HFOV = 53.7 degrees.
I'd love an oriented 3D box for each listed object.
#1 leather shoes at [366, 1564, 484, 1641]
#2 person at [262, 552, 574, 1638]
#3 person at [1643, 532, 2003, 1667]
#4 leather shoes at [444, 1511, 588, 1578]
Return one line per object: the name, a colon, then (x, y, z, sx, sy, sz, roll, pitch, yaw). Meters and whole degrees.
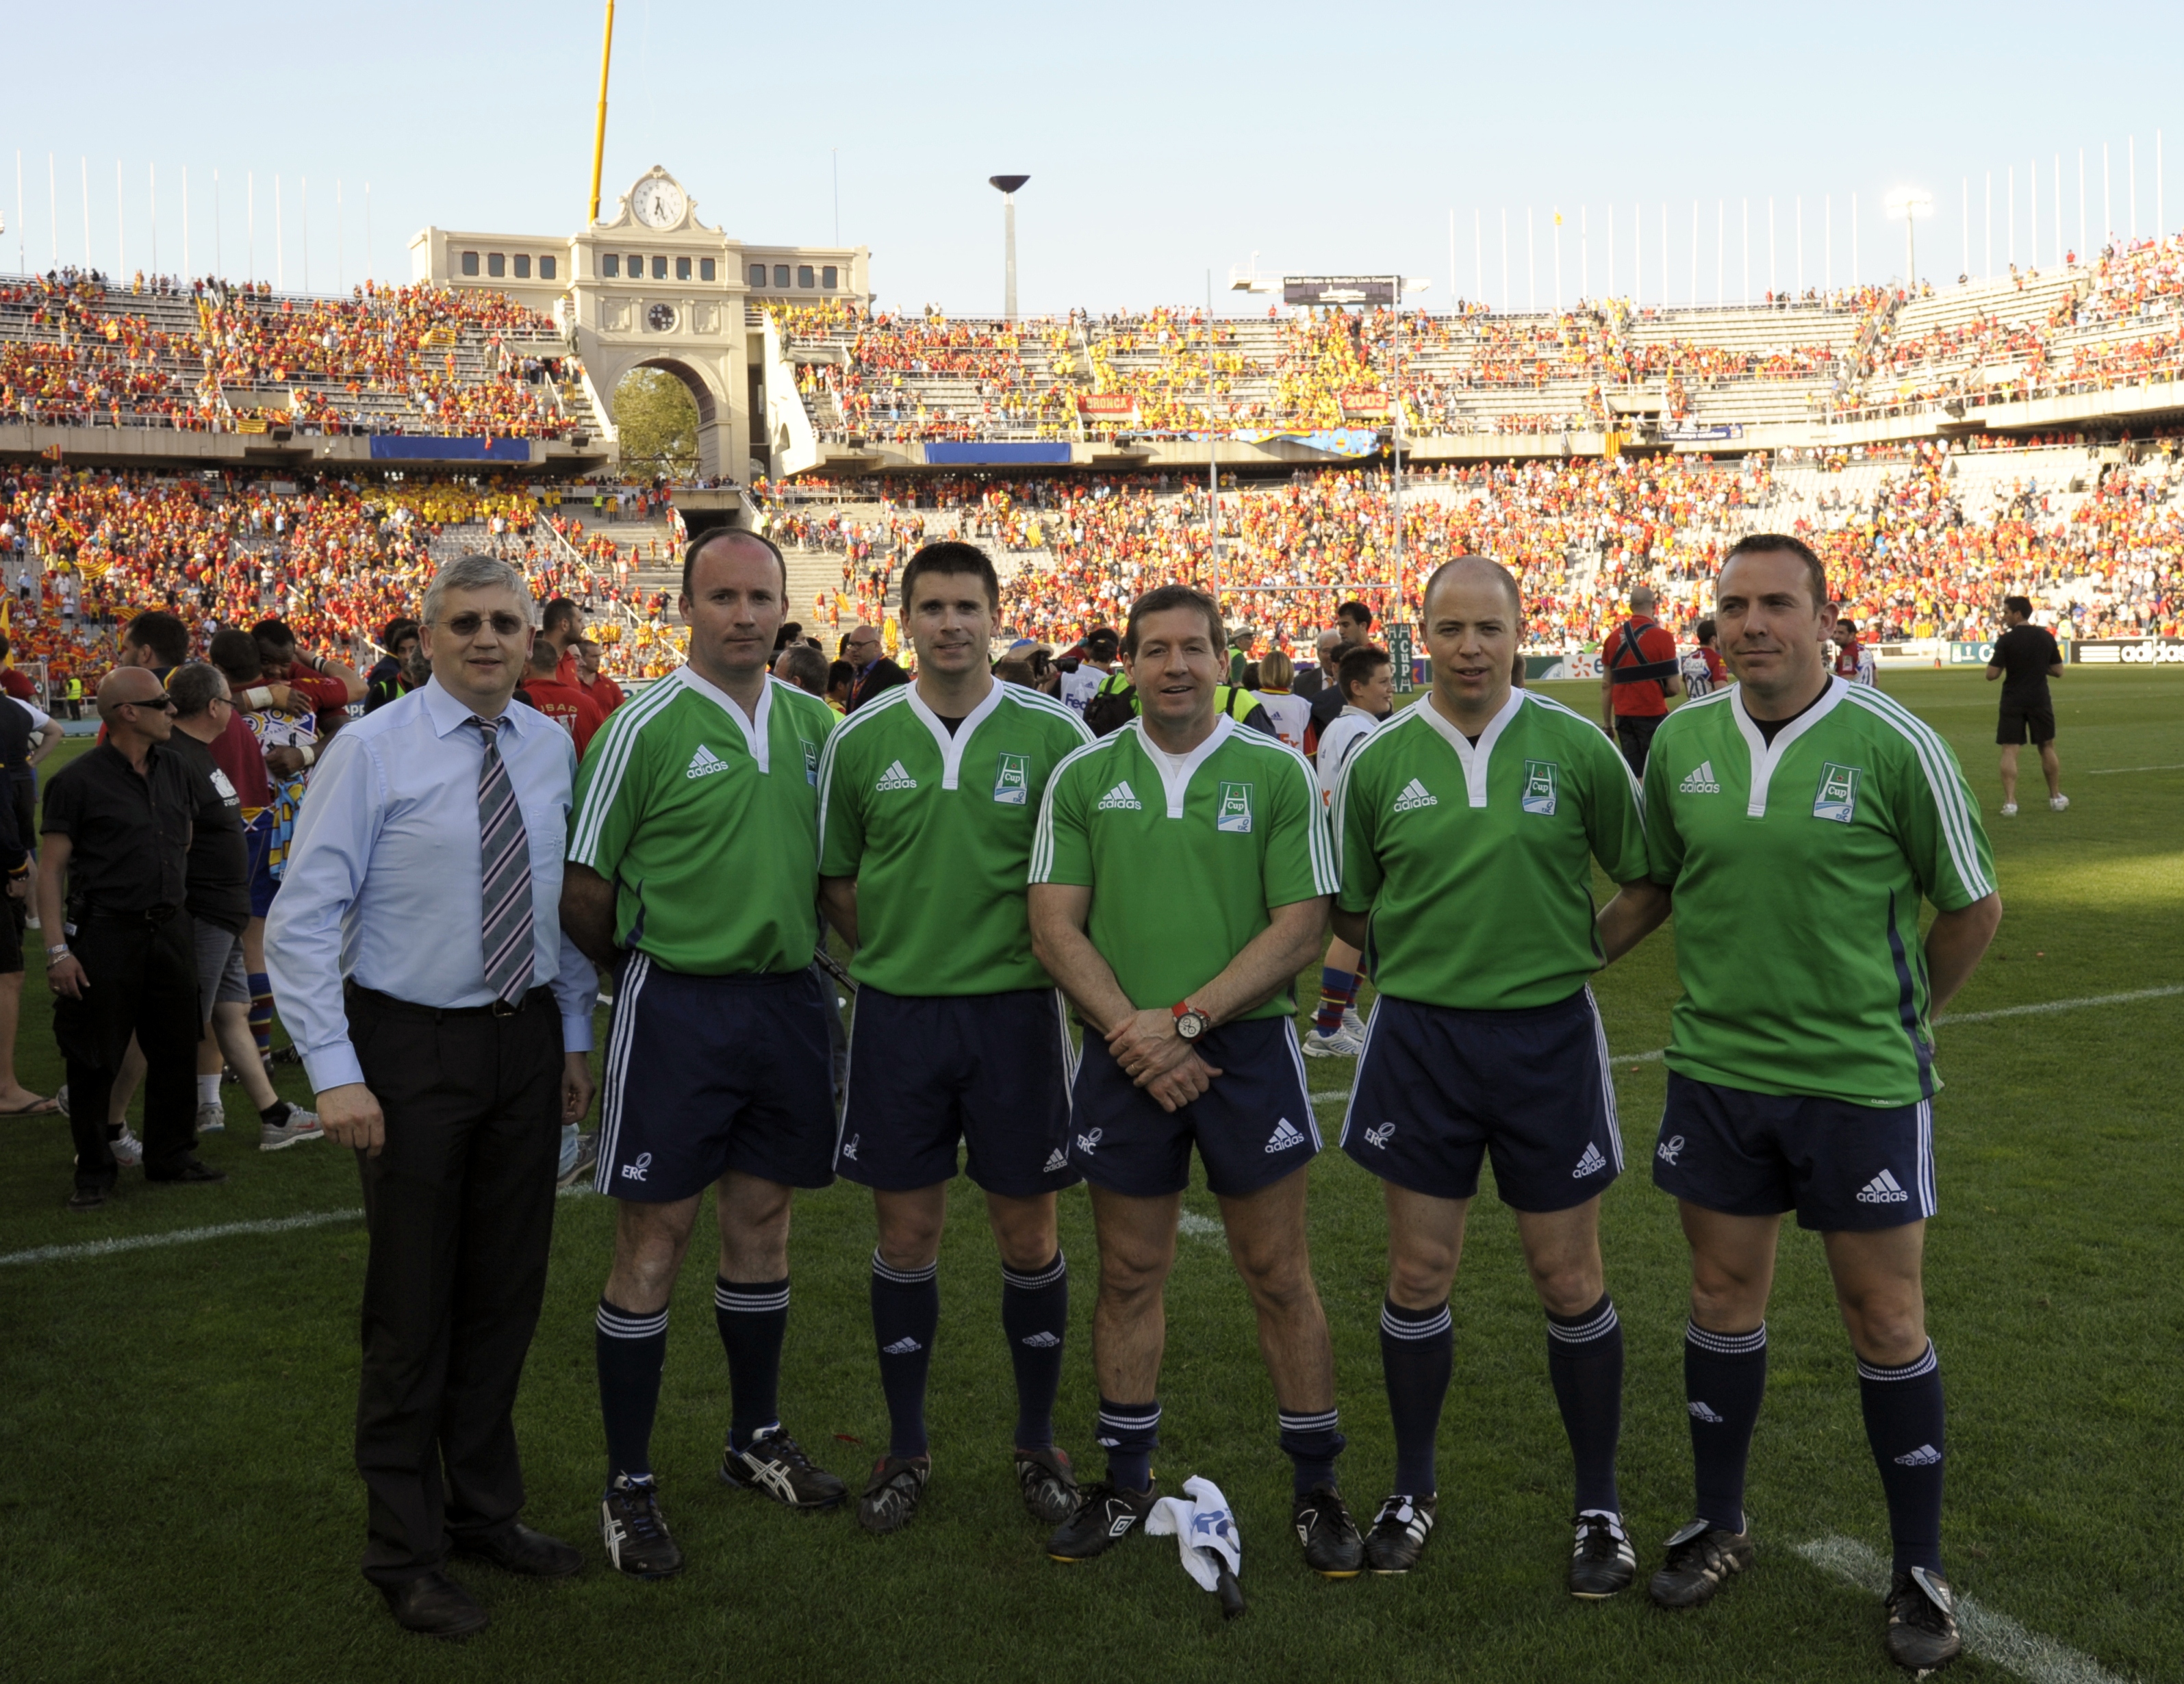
leather shoes: (-1.682, 1.883, 5.400, 0.236, 0.106, 0.149, 10, 24, 22)
person: (-1.667, 0.577, 5.633, 0.839, 2.592, 0.747, -11, 14, -42)
person: (1.777, 0.567, 5.393, 0.866, 2.586, 0.862, 3, 12, 22)
leather shoes: (-1.510, 1.829, 5.722, 0.387, 0.172, 0.143, 1, 14, 12)
